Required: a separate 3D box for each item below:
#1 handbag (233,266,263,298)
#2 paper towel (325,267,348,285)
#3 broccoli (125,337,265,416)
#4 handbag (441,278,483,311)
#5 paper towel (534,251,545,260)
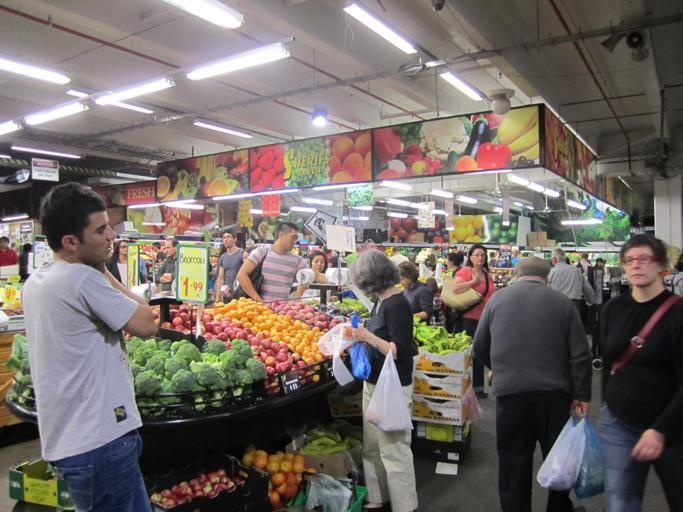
[{"bbox_3d":[-0.939,0.272,4.911,0.295,0.406,0.212,10,7,31],"label":"handbag"},{"bbox_3d":[-0.057,0.227,5.079,0.170,0.197,0.220,12,-13,-23],"label":"paper towel"},{"bbox_3d":[-0.903,0.755,3.002,0.548,0.183,0.538,-6,11,-42],"label":"broccoli"},{"bbox_3d":[1.503,0.471,5.943,0.098,0.212,0.364,23,6,-44],"label":"handbag"},{"bbox_3d":[4.006,-0.037,9.763,0.198,0.201,0.106,1,-6,1],"label":"paper towel"}]
